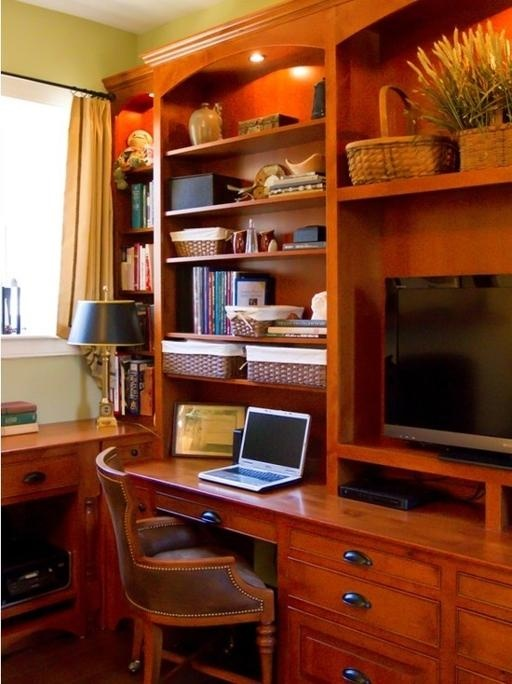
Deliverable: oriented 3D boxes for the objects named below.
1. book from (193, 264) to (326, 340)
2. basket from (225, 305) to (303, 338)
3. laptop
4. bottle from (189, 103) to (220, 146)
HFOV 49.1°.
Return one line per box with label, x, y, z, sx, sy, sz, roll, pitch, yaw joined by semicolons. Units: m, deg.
book;-0.045;-0.165;2.641;0.391;0.264;0.426;-1;4;-45
basket;0.031;-0.066;2.483;0.171;0.096;0.241;0;-1;44
laptop;-0.006;0.442;2.338;0.395;0.263;0.372;-1;0;34
bottle;-0.253;-1.083;2.796;0.175;0.199;0.151;1;23;1
